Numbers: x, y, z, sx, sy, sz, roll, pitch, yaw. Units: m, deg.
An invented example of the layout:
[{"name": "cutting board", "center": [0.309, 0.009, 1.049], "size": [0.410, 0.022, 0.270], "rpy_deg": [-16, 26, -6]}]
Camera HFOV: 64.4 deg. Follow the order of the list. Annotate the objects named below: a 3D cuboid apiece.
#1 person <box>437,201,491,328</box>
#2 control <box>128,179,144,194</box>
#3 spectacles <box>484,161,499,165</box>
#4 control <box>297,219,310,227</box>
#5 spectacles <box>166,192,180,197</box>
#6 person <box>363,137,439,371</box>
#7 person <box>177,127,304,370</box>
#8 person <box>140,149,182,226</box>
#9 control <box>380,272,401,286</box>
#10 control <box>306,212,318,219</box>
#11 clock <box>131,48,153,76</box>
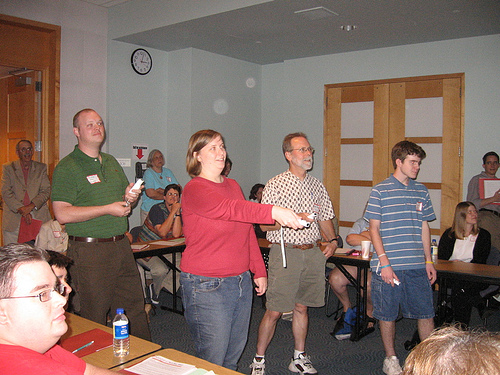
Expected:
[{"name": "person", "center": [2.243, 0.748, 4.220], "size": [0.509, 1.131, 0.863], "rpy_deg": [4, 6, 32]}, {"name": "control", "center": [-0.792, -0.006, 2.758], "size": [0.090, 0.099, 0.100], "rpy_deg": [-1, 6, -17]}, {"name": "spectacles", "center": [3.453, -0.347, 5.647], "size": [0.126, 0.051, 0.031], "rpy_deg": [4, 6, 29]}, {"name": "control", "center": [0.261, 0.175, 1.930], "size": [0.038, 0.012, 0.038], "rpy_deg": [35, 0, -19]}, {"name": "spectacles", "center": [-1.001, 0.097, 5.126], "size": [0.143, 0.057, 0.037], "rpy_deg": [0, 5, -9]}, {"name": "person", "center": [1.283, 0.591, 3.370], "size": [0.627, 1.948, 0.410], "rpy_deg": [1, 5, 10]}, {"name": "person", "center": [-0.141, 0.398, 2.536], "size": [0.603, 1.518, 1.277], "rpy_deg": [0, 5, -9]}, {"name": "person", "center": [-1.425, 0.244, 6.431], "size": [0.595, 1.684, 0.574], "rpy_deg": [21, 26, 40]}, {"name": "control", "center": [1.150, 0.744, 3.230], "size": [0.147, 0.038, 0.039], "rpy_deg": [39, 27, -2]}, {"name": "control", "center": [0.320, 0.148, 2.055], "size": [0.067, 0.017, 0.068], "rpy_deg": [-3, 3, 1]}, {"name": "clock", "center": [-1.819, -2.102, 6.650], "size": [0.038, 0.420, 0.417], "rpy_deg": [12, 13, 36]}]
